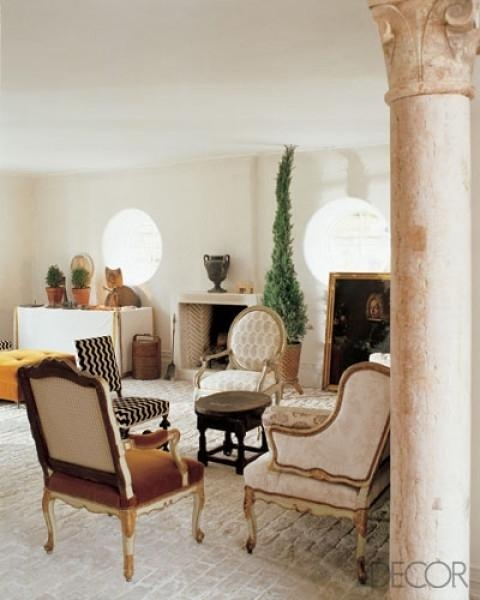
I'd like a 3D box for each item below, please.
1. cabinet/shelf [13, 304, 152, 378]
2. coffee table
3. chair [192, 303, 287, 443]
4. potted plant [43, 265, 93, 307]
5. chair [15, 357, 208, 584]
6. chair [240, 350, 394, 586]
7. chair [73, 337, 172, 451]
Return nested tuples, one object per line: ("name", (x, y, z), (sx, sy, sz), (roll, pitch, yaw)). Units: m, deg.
("cabinet/shelf", (-2.527, 0.578, 8.487), (1.777, 0.843, 0.720), (2, 2, 15))
("coffee table", (-0.047, 1.001, 4.276), (0.686, 0.503, 0.678), (3, 6, 32))
("chair", (-0.005, 0.640, 5.209), (0.902, 1.134, 0.882), (1, 2, -12))
("potted plant", (-2.763, -0.216, 8.851), (0.682, 0.591, 0.268), (2, 6, 19))
("chair", (-0.945, 0.789, 3.298), (0.935, 1.514, 1.066), (1, 3, 35))
("chair", (0.531, 0.810, 2.996), (0.873, 1.037, 0.811), (2, 2, 24))
("chair", (-0.981, 0.817, 4.721), (0.580, 0.978, 0.602), (3, 2, 36))
